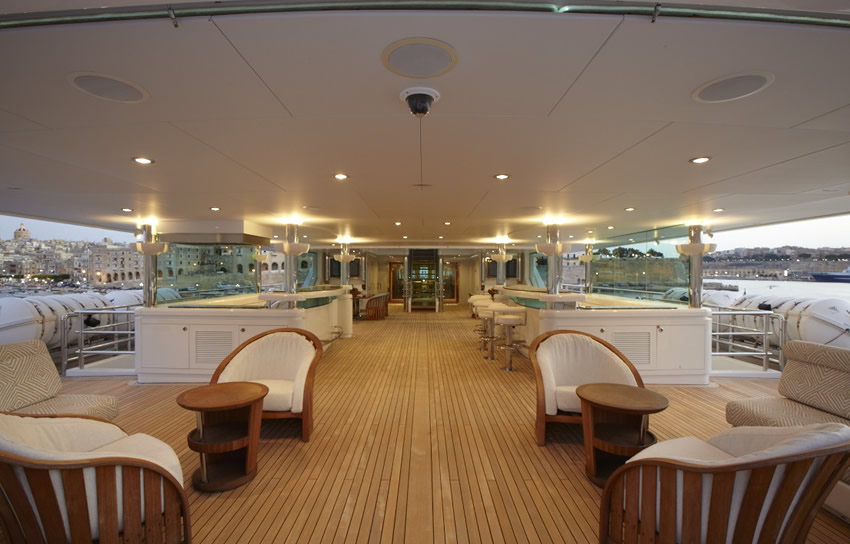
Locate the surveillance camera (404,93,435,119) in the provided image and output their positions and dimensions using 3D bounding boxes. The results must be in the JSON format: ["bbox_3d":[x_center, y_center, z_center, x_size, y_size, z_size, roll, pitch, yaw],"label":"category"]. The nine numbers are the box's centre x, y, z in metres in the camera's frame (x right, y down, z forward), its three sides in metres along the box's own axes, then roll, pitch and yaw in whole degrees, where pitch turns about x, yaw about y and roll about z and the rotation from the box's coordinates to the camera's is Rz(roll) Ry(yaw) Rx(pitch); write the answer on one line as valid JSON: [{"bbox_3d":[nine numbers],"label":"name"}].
[{"bbox_3d":[-0.043,-1.412,4.271,0.210,0.100,0.195,1,9,2],"label":"surveillance camera"}]

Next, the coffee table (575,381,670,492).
[{"bbox_3d":[2.167,1.712,5.738,1.061,0.867,1.074,2,10,10],"label":"coffee table"}]

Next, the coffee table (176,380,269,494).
[{"bbox_3d":[-2.232,1.805,5.574,1.047,0.855,0.987,-1,1,-7],"label":"coffee table"}]
